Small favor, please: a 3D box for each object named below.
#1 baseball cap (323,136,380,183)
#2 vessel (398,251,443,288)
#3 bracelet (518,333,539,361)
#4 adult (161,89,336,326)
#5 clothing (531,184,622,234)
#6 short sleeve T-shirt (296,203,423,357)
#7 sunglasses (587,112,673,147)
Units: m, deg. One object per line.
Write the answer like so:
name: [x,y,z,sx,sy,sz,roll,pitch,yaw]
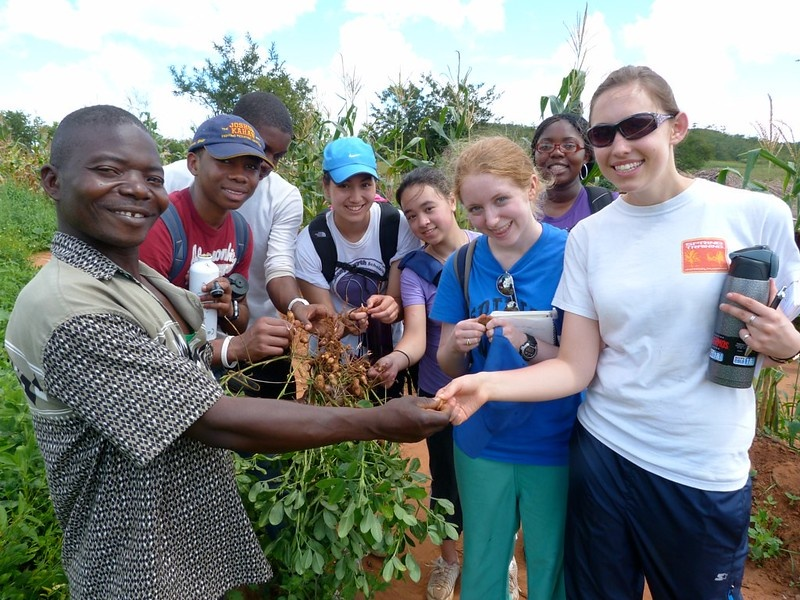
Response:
baseball cap: [-0.324,-0.957,3.614,0.307,0.213,0.410,-6,17,-21]
vessel: [0.144,-0.192,3.654,0.269,0.228,0.104,33,-20,13]
bracelet: [0.649,0.256,2.744,0.099,0.137,0.126,15,-1,-18]
adult: [-0.963,-0.290,3.122,0.835,0.517,0.695,-15,29,-6]
clothing: [1.347,-0.722,4.230,0.692,0.481,0.650,1,26,11]
short sleeve T-shirt: [-0.275,-0.119,3.589,1.031,1.087,0.584,-5,8,-10]
sunglasses: [1.003,-0.740,2.331,0.351,0.135,0.112,0,5,22]
